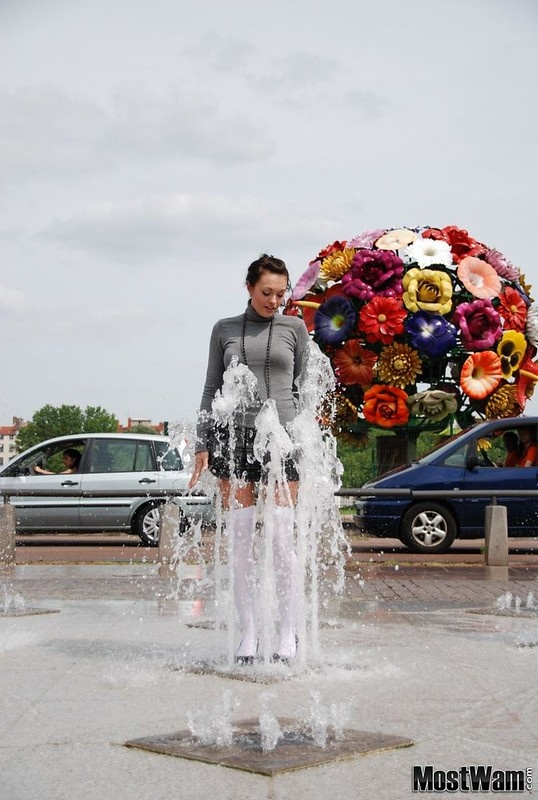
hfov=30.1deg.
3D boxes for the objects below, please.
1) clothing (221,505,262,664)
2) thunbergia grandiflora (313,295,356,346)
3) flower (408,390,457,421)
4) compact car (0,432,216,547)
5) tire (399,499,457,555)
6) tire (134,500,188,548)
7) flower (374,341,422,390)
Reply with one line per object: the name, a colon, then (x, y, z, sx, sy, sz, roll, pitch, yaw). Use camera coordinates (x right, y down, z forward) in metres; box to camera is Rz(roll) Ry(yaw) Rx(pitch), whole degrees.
clothing: (-0.117, 0.822, 4.509, 0.141, 0.675, 0.206, 0, -5, -2)
thunbergia grandiflora: (1.208, -1.449, 18.402, 0.939, 0.935, 0.271, -5, -7, 42)
flower: (2.955, 0.090, 18.462, 0.823, 0.487, 0.765, -6, 4, -19)
compact car: (-2.334, 1.179, 14.323, 3.285, 1.310, 1.749, 3, -9, 1)
tire: (1.897, 1.500, 12.023, 0.756, 0.663, 0.256, 0, -5, 5)
tire: (-1.702, 1.753, 14.183, 0.298, 0.668, 0.533, 5, -7, -43)
flower: (2.325, -0.621, 17.773, 0.870, 0.769, 0.347, 14, 2, 2)
